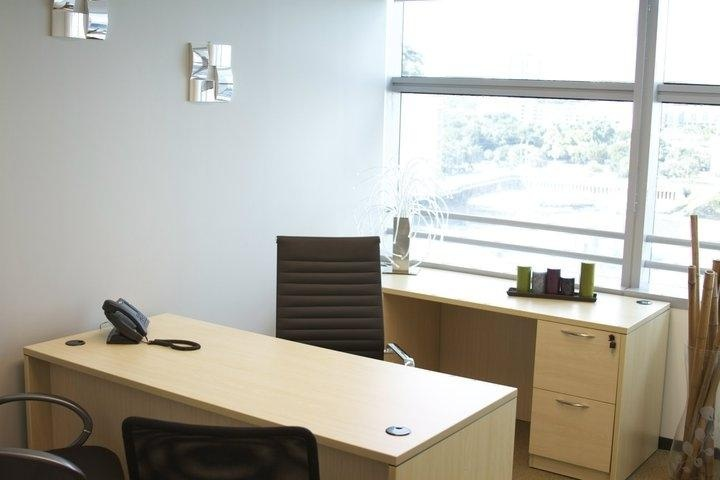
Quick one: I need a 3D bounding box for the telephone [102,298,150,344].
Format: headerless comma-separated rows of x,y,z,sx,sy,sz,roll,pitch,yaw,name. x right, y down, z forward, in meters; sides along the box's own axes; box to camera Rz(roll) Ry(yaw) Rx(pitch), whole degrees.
-1.318,0.447,3.313,0.242,0.255,0.272,5,5,-18,telephone
